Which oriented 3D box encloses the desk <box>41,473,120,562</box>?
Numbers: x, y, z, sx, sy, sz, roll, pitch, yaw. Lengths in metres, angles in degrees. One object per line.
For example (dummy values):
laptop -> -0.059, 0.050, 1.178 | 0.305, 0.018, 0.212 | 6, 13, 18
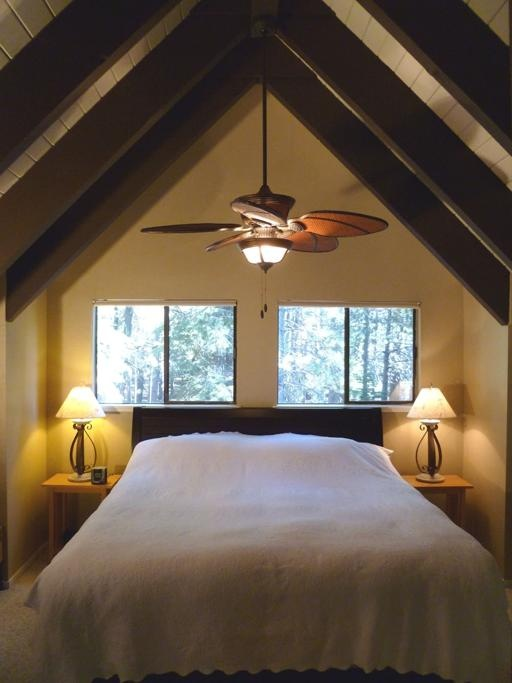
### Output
desk -> -1.151, 1.129, 4.340 | 0.606, 0.727, 0.512 | -1, -3, -1
